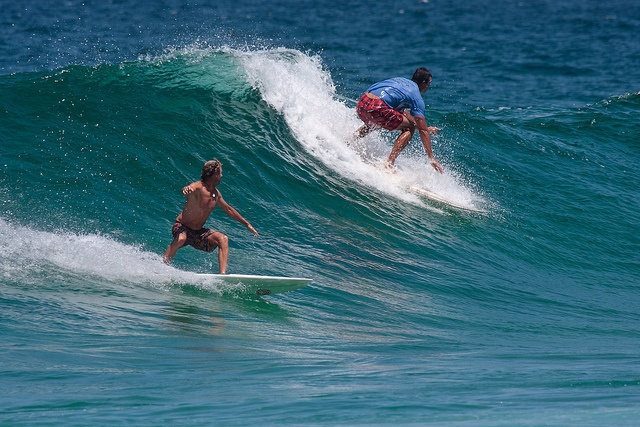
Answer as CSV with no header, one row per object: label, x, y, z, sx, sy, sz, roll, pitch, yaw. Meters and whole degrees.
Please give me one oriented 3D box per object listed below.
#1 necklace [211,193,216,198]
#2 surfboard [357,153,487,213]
necklace,-1.847,-0.309,14.596,0.081,0.065,0.061,4,80,-12
surfboard,2.177,-0.624,18.660,3.770,0.243,0.355,17,14,0
